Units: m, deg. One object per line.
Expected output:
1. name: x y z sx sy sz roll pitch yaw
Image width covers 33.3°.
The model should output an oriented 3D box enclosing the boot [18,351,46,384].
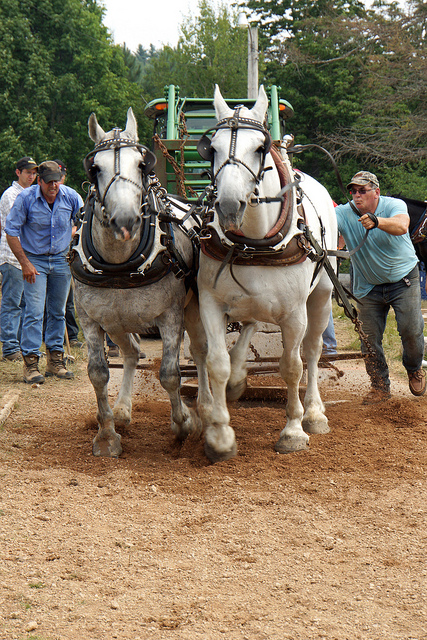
1. boot: -1.705 0.444 6.761 0.197 0.269 0.327 -1 8 -14

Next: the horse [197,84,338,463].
1. horse: 0.343 -0.207 4.831 0.945 2.010 3.048 0 3 11

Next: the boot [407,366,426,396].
1. boot: 1.762 0.517 6.169 0.139 0.285 0.190 4 9 18

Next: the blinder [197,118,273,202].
1. blinder: 0.122 -0.839 3.642 0.421 0.436 0.160 -11 -36 -11

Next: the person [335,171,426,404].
1. person: 1.433 -0.260 5.956 0.845 1.977 0.965 2 8 8

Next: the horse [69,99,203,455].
1. horse: -0.480 -0.074 4.925 0.877 1.817 2.858 -2 -2 6

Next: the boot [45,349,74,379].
1. boot: -1.546 0.420 7.147 0.315 0.286 0.291 0 8 -3

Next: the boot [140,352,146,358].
1. boot: -0.801 0.392 8.066 0.055 0.042 0.082 -4 -16 0
